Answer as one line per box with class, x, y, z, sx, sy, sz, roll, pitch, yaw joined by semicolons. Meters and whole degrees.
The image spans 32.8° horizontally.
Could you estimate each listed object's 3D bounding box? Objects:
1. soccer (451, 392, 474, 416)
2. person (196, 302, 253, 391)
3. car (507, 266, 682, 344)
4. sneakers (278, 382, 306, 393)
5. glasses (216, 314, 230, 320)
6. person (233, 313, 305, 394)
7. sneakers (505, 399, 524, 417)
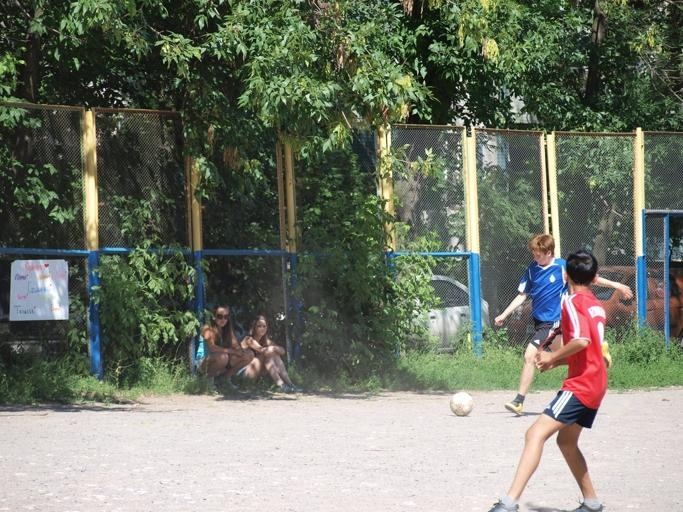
soccer;1.640;2.030;15.972;0.292;0.226;0.242;-1;-1;3
person;-1.804;1.396;17.810;0.715;1.355;0.798;2;2;8
car;4.761;0.772;21.010;2.444;1.684;1.525;1;-2;-14
sneakers;-0.753;2.020;17.895;0.438;0.226;0.158;-4;-3;11
glasses;-1.817;0.929;17.733;0.182;0.086;0.046;-1;-1;-9
person;-1.170;1.494;18.036;1.122;1.174;0.488;1;8;39
sneakers;2.385;2.052;15.953;0.133;0.198;0.382;26;-5;28
